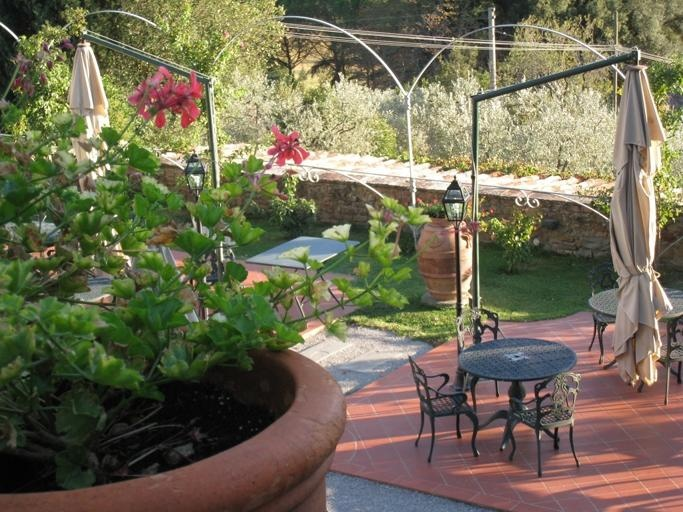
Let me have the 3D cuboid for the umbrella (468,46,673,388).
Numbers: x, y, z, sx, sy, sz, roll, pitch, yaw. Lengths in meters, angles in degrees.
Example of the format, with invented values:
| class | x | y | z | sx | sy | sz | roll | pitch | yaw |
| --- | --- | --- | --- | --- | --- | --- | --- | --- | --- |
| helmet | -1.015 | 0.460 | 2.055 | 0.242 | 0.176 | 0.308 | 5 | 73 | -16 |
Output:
| class | x | y | z | sx | sy | sz | roll | pitch | yaw |
| --- | --- | --- | --- | --- | --- | --- | --- | --- | --- |
| umbrella | 2.336 | -0.177 | 6.747 | 1.526 | 3.303 | 0.772 | -1 | 14 | 8 |

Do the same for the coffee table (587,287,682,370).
| class | x | y | z | sx | sy | sz | roll | pitch | yaw |
| --- | --- | --- | --- | --- | --- | --- | --- | --- | --- |
| coffee table | 2.989 | 0.599 | 7.750 | 0.932 | 0.623 | 0.880 | -6 | 11 | -14 |

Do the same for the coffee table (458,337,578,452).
| class | x | y | z | sx | sy | sz | roll | pitch | yaw |
| --- | --- | --- | --- | --- | --- | --- | --- | --- | --- |
| coffee table | 1.568 | 1.214 | 6.592 | 0.748 | 0.480 | 0.741 | -5 | 13 | -13 |

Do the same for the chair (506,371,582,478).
| class | x | y | z | sx | sy | sz | roll | pitch | yaw |
| --- | --- | --- | --- | --- | --- | --- | --- | --- | --- |
| chair | 1.717 | 1.481 | 6.223 | 0.539 | 0.951 | 0.583 | -9 | 18 | -21 |
